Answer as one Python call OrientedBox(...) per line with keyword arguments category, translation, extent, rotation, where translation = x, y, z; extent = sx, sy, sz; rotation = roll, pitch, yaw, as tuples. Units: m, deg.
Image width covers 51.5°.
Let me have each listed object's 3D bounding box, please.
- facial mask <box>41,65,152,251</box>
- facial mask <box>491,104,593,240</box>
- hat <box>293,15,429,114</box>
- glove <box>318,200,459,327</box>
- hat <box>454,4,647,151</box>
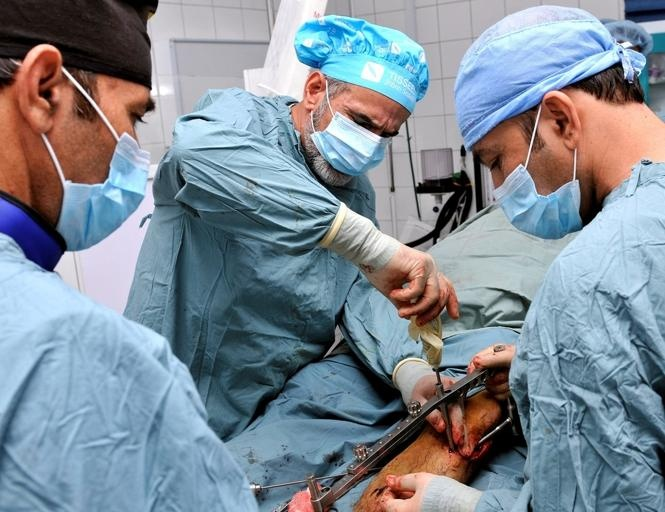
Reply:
OrientedBox(category="facial mask", translation=(-0.459, -0.186, 1.387), extent=(0.133, 0.285, 0.244), rotation=(-15, -3, 3))
OrientedBox(category="facial mask", translation=(0.542, -0.177, 1.700), extent=(0.145, 0.279, 0.232), rotation=(26, -11, -33))
OrientedBox(category="hat", translation=(0.094, -0.669, 2.345), extent=(0.344, 0.205, 0.339), rotation=(25, 1, 34))
OrientedBox(category="glove", translation=(0.154, 0.026, 1.846), extent=(0.350, 0.147, 0.252), rotation=(32, -19, 14))
OrientedBox(category="hat", translation=(0.503, -0.403, 1.664), extent=(0.353, 0.269, 0.287), rotation=(1, 12, 27))
